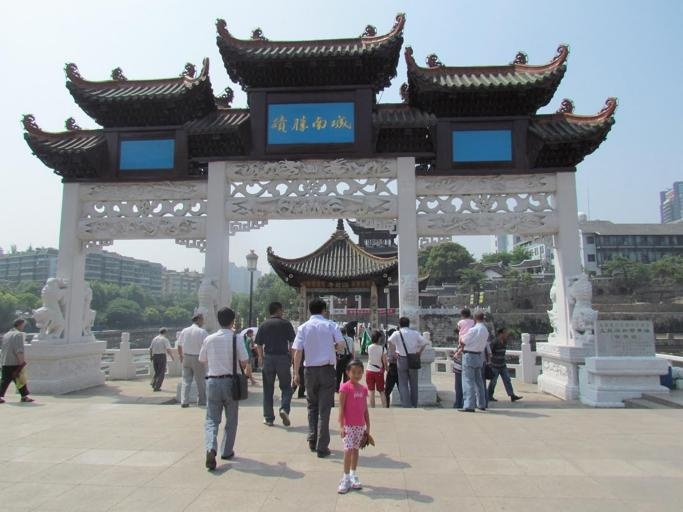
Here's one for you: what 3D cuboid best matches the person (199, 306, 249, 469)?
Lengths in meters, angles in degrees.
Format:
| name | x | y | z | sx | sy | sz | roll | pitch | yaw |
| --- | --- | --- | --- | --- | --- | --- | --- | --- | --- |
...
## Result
| name | x | y | z | sx | sy | sz | roll | pitch | yaw |
| --- | --- | --- | --- | --- | --- | --- | --- | --- | --- |
| person | -1.792 | 1.959 | 9.189 | 0.737 | 2.276 | 0.900 | -1 | 1 | -11 |

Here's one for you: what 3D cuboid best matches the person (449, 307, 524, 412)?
| name | x | y | z | sx | sy | sz | roll | pitch | yaw |
| --- | --- | --- | --- | --- | --- | --- | --- | --- | --- |
| person | 2.499 | 2.002 | 11.569 | 0.760 | 1.853 | 0.518 | -1 | 2 | -42 |

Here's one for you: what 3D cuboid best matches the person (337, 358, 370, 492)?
| name | x | y | z | sx | sy | sz | roll | pitch | yaw |
| --- | --- | --- | --- | --- | --- | --- | --- | --- | --- |
| person | 0.152 | 2.372 | 8.502 | 0.423 | 1.713 | 0.708 | 0 | 1 | 15 |

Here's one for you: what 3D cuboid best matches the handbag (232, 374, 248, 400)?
| name | x | y | z | sx | sy | sz | roll | pitch | yaw |
| --- | --- | --- | --- | --- | --- | --- | --- | --- | --- |
| handbag | -1.535 | 1.965 | 9.008 | 0.200 | 0.415 | 0.346 | -3 | -3 | 20 |

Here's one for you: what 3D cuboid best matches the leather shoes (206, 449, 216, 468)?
| name | x | y | z | sx | sy | sz | roll | pitch | yaw |
| --- | --- | --- | --- | --- | --- | --- | --- | --- | --- |
| leather shoes | -1.912 | 2.957 | 8.801 | 0.115 | 0.285 | 0.120 | 2 | 2 | -1 |

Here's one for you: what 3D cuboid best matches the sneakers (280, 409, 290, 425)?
| name | x | y | z | sx | sy | sz | roll | pitch | yaw |
| --- | --- | --- | --- | --- | --- | --- | --- | --- | --- |
| sneakers | -0.966 | 2.732 | 10.257 | 0.117 | 0.344 | 0.143 | -14 | 6 | 8 |

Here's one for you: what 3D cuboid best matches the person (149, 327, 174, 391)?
| name | x | y | z | sx | sy | sz | roll | pitch | yaw |
| --- | --- | --- | --- | --- | --- | --- | --- | --- | --- |
| person | -4.338 | 2.455 | 14.404 | 0.488 | 1.506 | 0.945 | -1 | 1 | -19 |

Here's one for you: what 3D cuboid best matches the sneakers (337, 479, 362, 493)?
| name | x | y | z | sx | sy | sz | roll | pitch | yaw |
| --- | --- | --- | --- | --- | --- | --- | --- | --- | --- |
| sneakers | 0.116 | 3.170 | 8.304 | 0.137 | 0.165 | 0.359 | -15 | -30 | 38 |

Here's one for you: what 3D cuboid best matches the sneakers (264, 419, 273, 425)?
| name | x | y | z | sx | sy | sz | roll | pitch | yaw |
| --- | --- | --- | --- | --- | --- | --- | --- | --- | --- |
| sneakers | -1.277 | 2.867 | 10.424 | 0.170 | 0.109 | 0.119 | 0 | 1 | 4 |

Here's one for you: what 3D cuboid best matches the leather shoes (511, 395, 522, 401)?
| name | x | y | z | sx | sy | sz | roll | pitch | yaw |
| --- | --- | --- | --- | --- | --- | --- | --- | --- | --- |
| leather shoes | 3.743 | 3.043 | 12.920 | 0.176 | 0.063 | 0.137 | -14 | -46 | -3 |
